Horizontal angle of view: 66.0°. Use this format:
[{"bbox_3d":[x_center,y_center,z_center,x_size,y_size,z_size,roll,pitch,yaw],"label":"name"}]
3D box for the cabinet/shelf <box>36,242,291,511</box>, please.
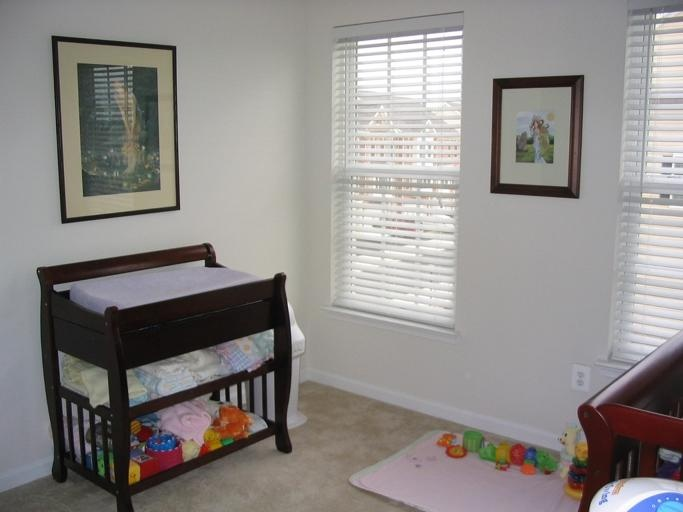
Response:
[{"bbox_3d":[-0.856,0.450,2.995,1.011,1.561,1.453,8,14,41],"label":"cabinet/shelf"}]
